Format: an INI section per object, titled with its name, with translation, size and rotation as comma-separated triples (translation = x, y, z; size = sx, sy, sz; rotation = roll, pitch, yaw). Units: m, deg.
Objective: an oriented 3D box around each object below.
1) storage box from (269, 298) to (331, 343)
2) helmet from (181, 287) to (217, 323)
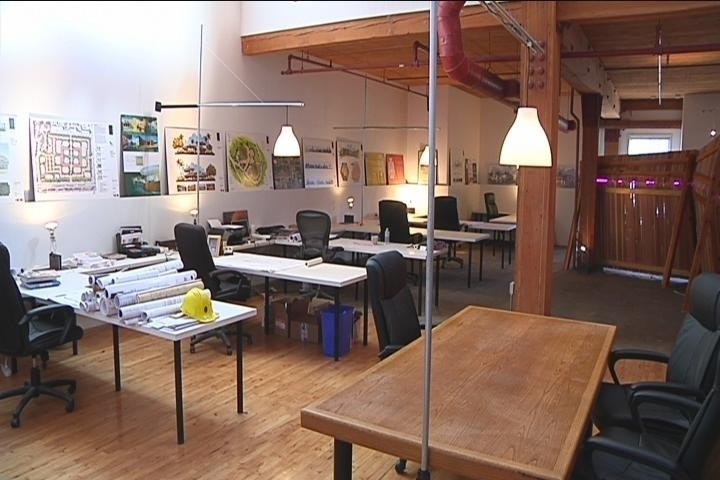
[storage box]
translation = -0.797, 0.998, 6.501
size = 0.660, 0.419, 0.555
rotation = 7, 5, 32
[helmet]
translation = -1.475, 0.583, 4.543
size = 0.329, 0.211, 0.250
rotation = 16, 12, 40
